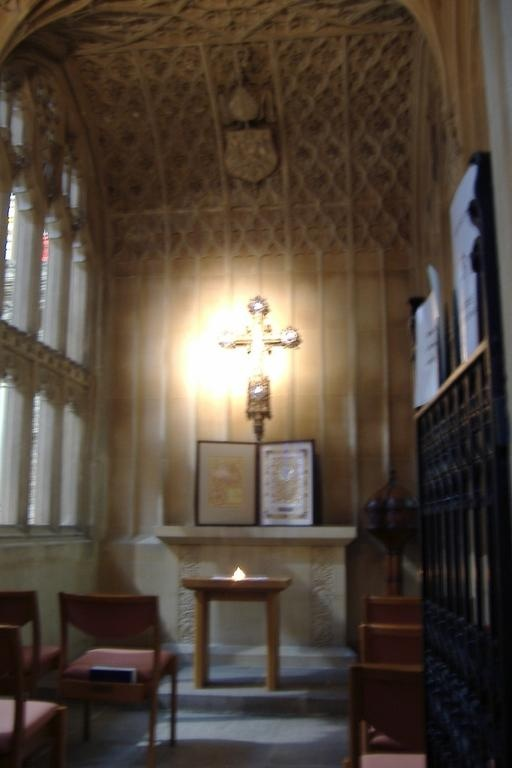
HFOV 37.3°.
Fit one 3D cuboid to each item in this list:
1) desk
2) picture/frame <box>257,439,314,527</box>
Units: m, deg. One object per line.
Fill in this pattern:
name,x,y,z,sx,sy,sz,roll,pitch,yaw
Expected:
desk,-0.123,1.764,5.389,0.750,0.736,0.504,-1,-12,7
picture/frame,0.266,0.875,6.704,0.504,0.729,0.125,-6,-11,24
